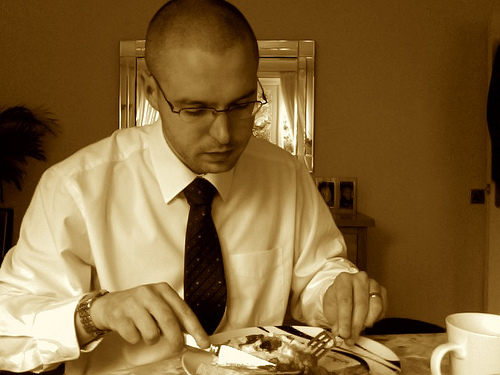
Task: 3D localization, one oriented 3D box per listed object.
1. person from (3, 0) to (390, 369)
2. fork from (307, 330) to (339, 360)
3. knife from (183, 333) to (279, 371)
[{"bbox_3d":[-0.289,-0.129,2.421,1.545,1.624,1.129,-7,19,-31],"label":"person"},{"bbox_3d":[0.230,0.503,1.612,0.076,0.086,0.158,-1,0,27],"label":"fork"},{"bbox_3d":[-0.058,0.505,1.540,0.359,0.061,0.042,11,-22,9],"label":"knife"}]
